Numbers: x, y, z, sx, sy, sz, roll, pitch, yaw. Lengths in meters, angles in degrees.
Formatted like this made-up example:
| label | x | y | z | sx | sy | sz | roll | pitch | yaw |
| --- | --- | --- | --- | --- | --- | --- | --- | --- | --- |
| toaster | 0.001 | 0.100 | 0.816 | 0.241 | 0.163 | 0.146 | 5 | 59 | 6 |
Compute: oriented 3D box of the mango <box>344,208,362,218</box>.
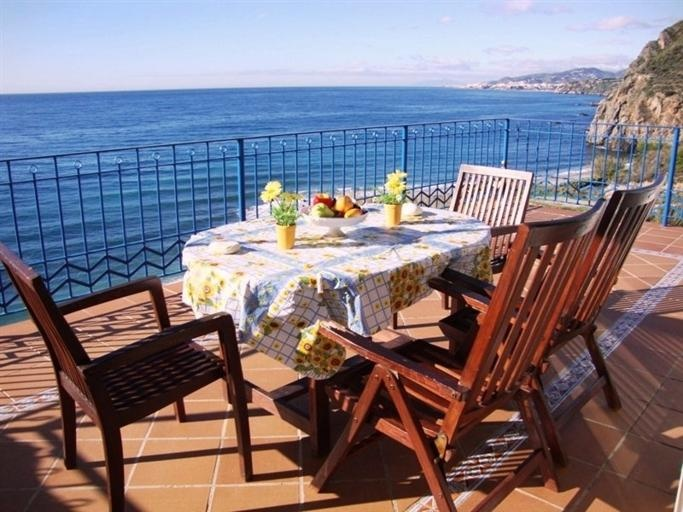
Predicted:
| label | x | y | z | sx | sy | sz | roll | pitch | yaw |
| --- | --- | --- | --- | --- | --- | --- | --- | --- | --- |
| mango | 0.062 | -0.230 | 2.613 | 0.096 | 0.042 | 0.081 | 3 | 21 | 5 |

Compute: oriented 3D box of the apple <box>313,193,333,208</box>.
| label | x | y | z | sx | sy | sz | roll | pitch | yaw |
| --- | --- | --- | --- | --- | --- | --- | --- | --- | --- |
| apple | -0.108 | -0.306 | 2.704 | 0.109 | 0.080 | 0.096 | -2 | 3 | -2 |

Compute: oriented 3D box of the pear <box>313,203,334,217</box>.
| label | x | y | z | sx | sy | sz | roll | pitch | yaw |
| --- | --- | --- | --- | --- | --- | --- | --- | --- | --- |
| pear | -0.101 | -0.246 | 2.615 | 0.125 | 0.066 | 0.074 | 0 | 23 | -3 |
